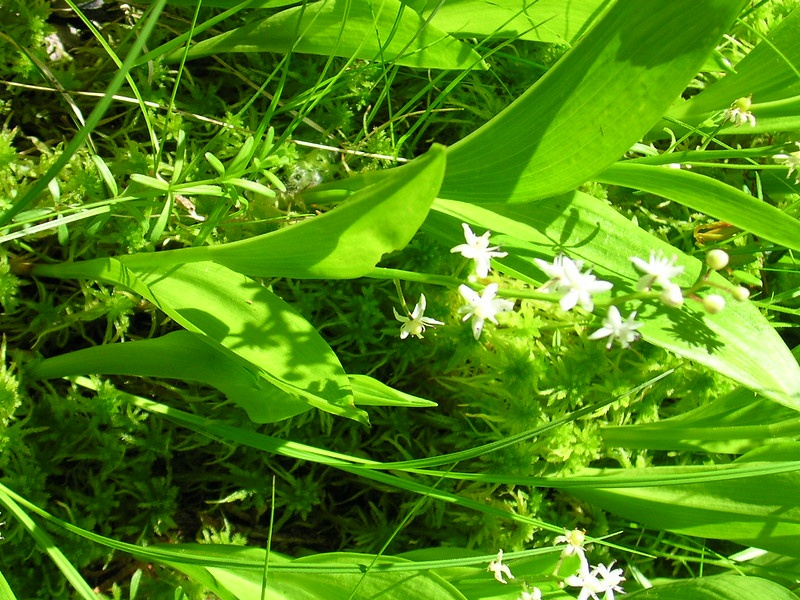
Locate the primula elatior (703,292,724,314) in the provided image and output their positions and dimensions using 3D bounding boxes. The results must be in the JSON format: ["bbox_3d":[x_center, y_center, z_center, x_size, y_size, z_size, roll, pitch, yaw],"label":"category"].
[{"bbox_3d":[0.443,0.004,0.928,0.025,0.024,0.029,30,14,9],"label":"primula elatior"}]
